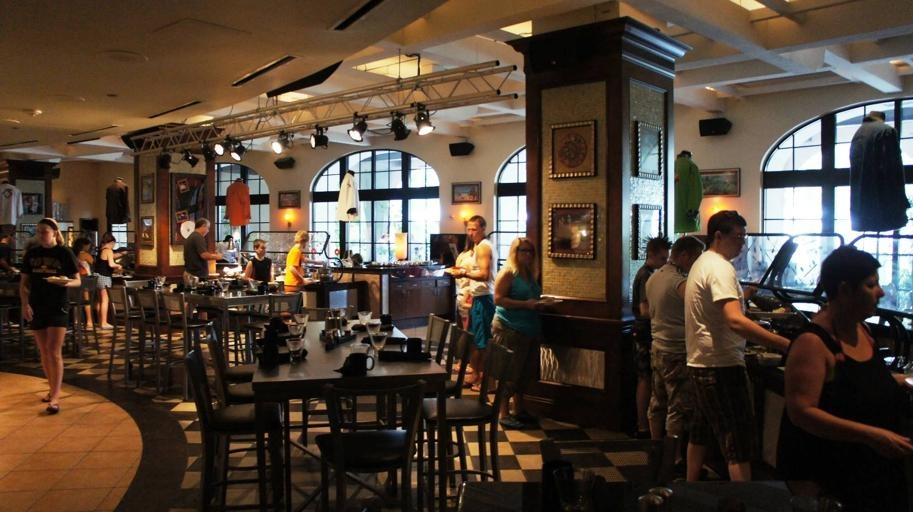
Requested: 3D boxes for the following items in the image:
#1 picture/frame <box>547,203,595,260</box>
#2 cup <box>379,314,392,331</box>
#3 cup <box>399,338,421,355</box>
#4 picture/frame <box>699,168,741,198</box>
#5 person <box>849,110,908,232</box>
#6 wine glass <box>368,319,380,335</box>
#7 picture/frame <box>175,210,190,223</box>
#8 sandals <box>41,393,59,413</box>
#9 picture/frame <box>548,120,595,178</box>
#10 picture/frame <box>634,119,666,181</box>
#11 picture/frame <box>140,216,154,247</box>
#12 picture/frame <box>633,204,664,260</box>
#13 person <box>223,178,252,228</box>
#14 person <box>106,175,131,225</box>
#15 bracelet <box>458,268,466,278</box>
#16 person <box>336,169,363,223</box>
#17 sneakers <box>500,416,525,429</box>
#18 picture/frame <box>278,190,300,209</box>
[{"bbox_3d":[1.583,-0.321,9.140,0.861,0.872,0.101,2,2,33],"label":"picture/frame"},{"bbox_3d":[-0.921,0.864,8.558,0.192,0.189,0.185,-1,-2,0],"label":"cup"},{"bbox_3d":[-0.498,1.022,7.575,0.229,0.251,0.222,0,-6,0],"label":"cup"},{"bbox_3d":[5.978,-1.611,15.155,1.173,0.766,0.048,5,6,41],"label":"picture/frame"},{"bbox_3d":[5.335,-1.047,8.460,0.627,1.502,0.316,0,0,29],"label":"person"},{"bbox_3d":[-0.994,0.836,7.825,0.162,0.129,0.149,-2,-2,32],"label":"wine glass"},{"bbox_3d":[-6.833,-0.943,16.594,0.027,0.344,0.344,-15,-4,43],"label":"picture/frame"},{"bbox_3d":[-5.862,2.118,9.628,0.181,0.124,0.514,1,0,-36],"label":"sandals"},{"bbox_3d":[1.583,-1.437,9.121,0.910,0.897,0.087,3,1,35],"label":"picture/frame"},{"bbox_3d":[2.613,-1.437,9.161,0.105,0.872,0.987,-1,0,40],"label":"picture/frame"},{"bbox_3d":[-7.761,-0.603,16.773,0.047,0.842,0.830,-4,5,-39],"label":"picture/frame"},{"bbox_3d":[2.539,-0.292,8.987,0.063,0.743,0.873,-1,-2,43],"label":"picture/frame"},{"bbox_3d":[-5.336,-1.276,16.359,0.473,1.123,1.799,0,0,-15],"label":"person"},{"bbox_3d":[-8.512,-1.346,16.805,0.457,1.127,1.126,0,0,-30],"label":"person"},{"bbox_3d":[0.097,0.263,9.842,0.136,0.120,0.116,6,9,33],"label":"bracelet"},{"bbox_3d":[-2.697,-1.462,16.529,0.491,1.177,1.210,0,0,-10],"label":"person"},{"bbox_3d":[0.729,2.234,8.983,0.129,0.078,0.306,-1,1,-44],"label":"sneakers"},{"bbox_3d":[-5.601,-1.817,22.349,0.995,0.587,0.126,0,0,36],"label":"picture/frame"}]
